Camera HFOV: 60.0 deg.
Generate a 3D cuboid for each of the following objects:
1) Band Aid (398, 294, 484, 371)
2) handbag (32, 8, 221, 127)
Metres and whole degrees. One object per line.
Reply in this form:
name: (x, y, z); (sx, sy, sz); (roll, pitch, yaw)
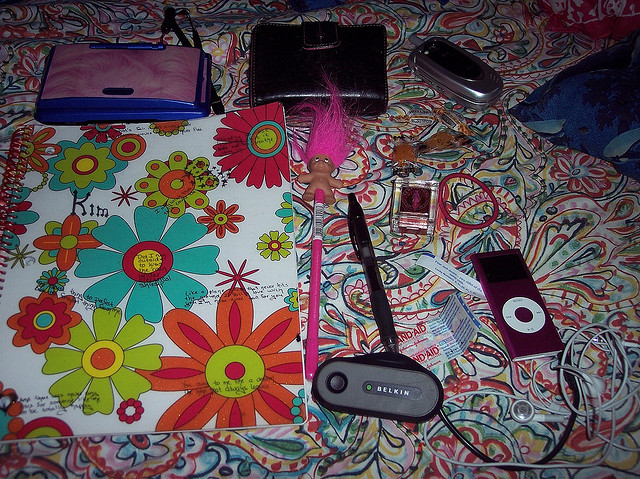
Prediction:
Band Aid: (0.224, 0.179, 1.027); (0.150, 0.030, 0.095); (-36, 76, -11)
handbag: (-0.421, -0.326, 1.199); (0.310, 0.078, 0.323); (-2, 55, -3)
